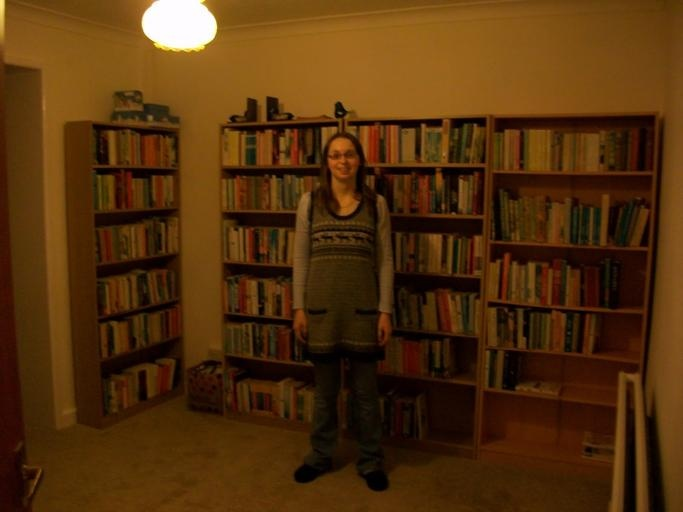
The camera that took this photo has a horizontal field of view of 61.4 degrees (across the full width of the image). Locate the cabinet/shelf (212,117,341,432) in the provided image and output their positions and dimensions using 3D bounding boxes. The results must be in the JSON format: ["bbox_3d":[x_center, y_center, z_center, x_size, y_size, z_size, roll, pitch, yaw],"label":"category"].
[{"bbox_3d":[-0.600,0.066,4.533,0.768,1.728,0.193,14,-32,-35],"label":"cabinet/shelf"}]

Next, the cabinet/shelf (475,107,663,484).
[{"bbox_3d":[1.486,0.232,3.884,1.094,2.296,0.670,3,15,13],"label":"cabinet/shelf"}]

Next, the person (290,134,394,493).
[{"bbox_3d":[0.004,0.364,3.632,0.637,2.190,0.585,1,14,4],"label":"person"}]

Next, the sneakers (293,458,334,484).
[{"bbox_3d":[-0.199,1.400,3.748,0.211,0.085,0.099,9,-1,-40],"label":"sneakers"}]

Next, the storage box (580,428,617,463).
[{"bbox_3d":[1.738,1.282,3.886,0.195,0.094,0.244,6,16,21],"label":"storage box"}]

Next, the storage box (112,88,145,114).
[{"bbox_3d":[-1.749,-1.244,4.732,0.319,0.243,0.180,5,15,11],"label":"storage box"}]
